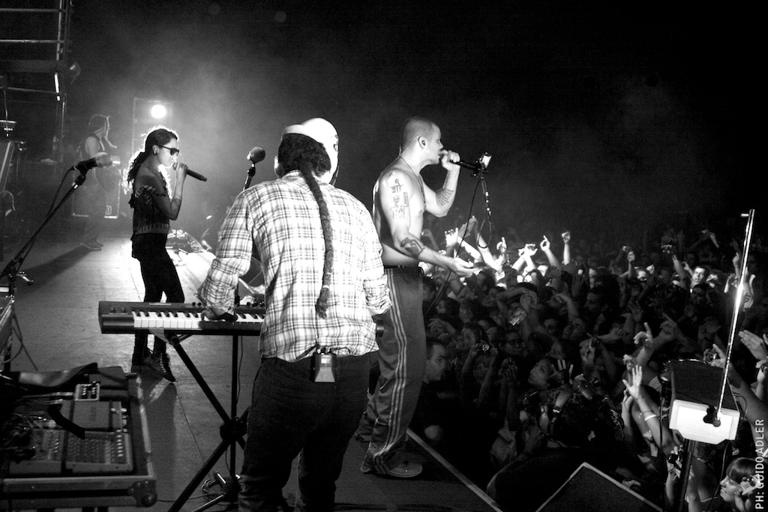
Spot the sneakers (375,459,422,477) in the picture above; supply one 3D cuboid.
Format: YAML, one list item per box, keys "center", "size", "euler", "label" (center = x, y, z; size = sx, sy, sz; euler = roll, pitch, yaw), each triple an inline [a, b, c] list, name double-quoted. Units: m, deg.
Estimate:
- center: [0.090, 1.288, 3.743]
  size: [0.296, 0.120, 0.110]
  euler: [1, -8, -2]
  label: "sneakers"

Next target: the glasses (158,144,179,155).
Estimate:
- center: [-1.650, -0.823, 4.771]
  size: [0.069, 0.060, 0.180]
  euler: [3, -3, 30]
  label: "glasses"

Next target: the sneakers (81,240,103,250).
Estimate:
- center: [-4.361, -0.151, 9.131]
  size: [0.251, 0.128, 0.358]
  euler: [5, -3, -31]
  label: "sneakers"
